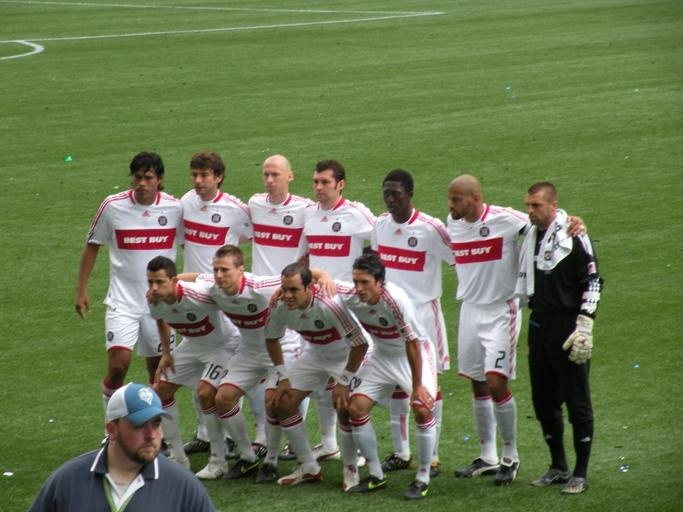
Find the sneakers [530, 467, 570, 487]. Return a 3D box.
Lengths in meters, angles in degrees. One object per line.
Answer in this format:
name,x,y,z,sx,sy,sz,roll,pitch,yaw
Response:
sneakers,2.772,2.873,18.598,0.601,0.207,0.193,-5,6,-5

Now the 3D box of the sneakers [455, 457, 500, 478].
sneakers,1.832,2.823,19.040,0.675,0.224,0.214,-1,5,-7

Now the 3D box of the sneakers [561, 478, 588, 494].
sneakers,3.018,2.954,18.318,0.335,0.111,0.171,-15,32,-20

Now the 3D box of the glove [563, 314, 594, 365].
glove,3.052,1.068,18.325,0.381,0.664,0.370,2,21,15

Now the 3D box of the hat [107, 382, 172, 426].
hat,-2.366,1.720,16.546,0.645,0.302,0.462,-3,2,36

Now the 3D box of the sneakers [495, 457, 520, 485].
sneakers,2.196,2.851,18.768,0.187,0.178,0.438,16,59,24
